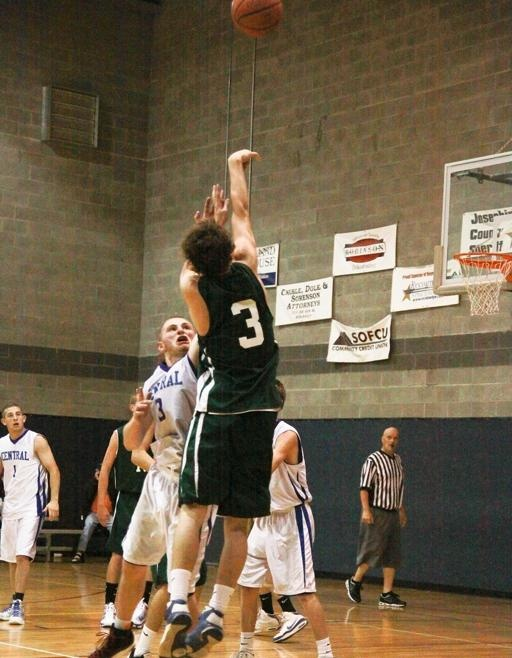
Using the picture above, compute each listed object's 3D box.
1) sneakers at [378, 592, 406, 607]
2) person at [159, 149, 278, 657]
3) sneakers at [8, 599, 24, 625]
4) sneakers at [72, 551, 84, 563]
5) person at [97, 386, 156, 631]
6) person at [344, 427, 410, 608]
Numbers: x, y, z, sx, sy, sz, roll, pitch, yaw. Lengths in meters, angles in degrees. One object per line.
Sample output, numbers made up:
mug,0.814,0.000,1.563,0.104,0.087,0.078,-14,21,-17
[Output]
sneakers,1.227,2.475,8.700,0.277,0.155,0.108,2,-6,-1
person,-0.114,0.394,3.781,0.432,1.927,0.522,3,0,-5
sneakers,-1.707,2.027,6.773,0.109,0.181,0.318,3,-1,-14
sneakers,-2.331,2.994,12.455,0.154,0.149,0.282,3,-1,-12
person,-0.834,1.265,6.564,0.544,1.671,0.462,3,-10,-5
person,1.170,1.793,9.042,0.542,1.700,0.849,3,0,6
